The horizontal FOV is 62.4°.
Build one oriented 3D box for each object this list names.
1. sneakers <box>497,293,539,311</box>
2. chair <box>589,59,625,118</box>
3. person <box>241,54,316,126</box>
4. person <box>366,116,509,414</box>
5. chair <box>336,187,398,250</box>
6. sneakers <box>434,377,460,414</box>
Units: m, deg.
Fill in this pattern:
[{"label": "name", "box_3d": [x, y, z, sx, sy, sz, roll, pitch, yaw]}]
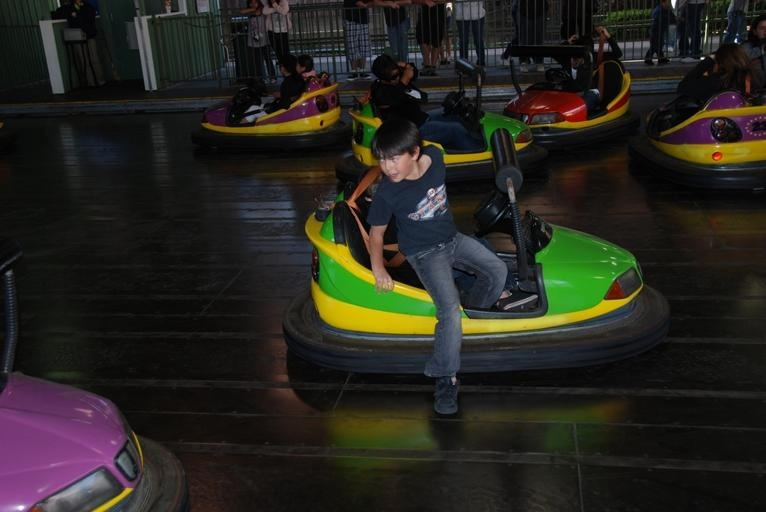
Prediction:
[{"label": "sneakers", "box_3d": [0.591, 0.199, 2.748, 0.138, 0.041, 0.087, -7, -3, -5]}, {"label": "chair", "box_3d": [2.047, -1.522, 5.757, 0.291, 0.467, 0.433, 3, 21, 20]}, {"label": "person", "box_3d": [-1.066, -1.656, 6.303, 0.787, 0.624, 0.320, -5, 21, -4]}, {"label": "person", "box_3d": [0.206, 0.009, 2.600, 0.436, 1.149, 0.534, 11, 26, 35]}, {"label": "chair", "box_3d": [-0.101, -0.122, 2.797, 0.342, 0.293, 0.221, 3, 53, -1]}, {"label": "sneakers", "box_3d": [0.251, 0.569, 2.505, 0.081, 0.071, 0.170, 0, 2, 4]}]
